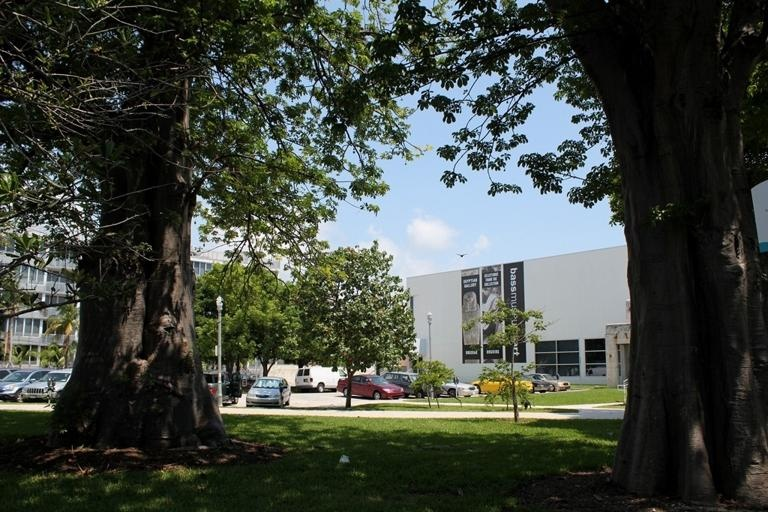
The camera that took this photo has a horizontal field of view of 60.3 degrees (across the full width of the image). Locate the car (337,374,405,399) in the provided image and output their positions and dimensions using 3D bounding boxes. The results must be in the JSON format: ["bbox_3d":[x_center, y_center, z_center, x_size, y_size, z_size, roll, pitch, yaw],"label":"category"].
[{"bbox_3d":[-0.847,7.814,39.653,4.146,1.231,1.795,-12,-16,41],"label":"car"}]

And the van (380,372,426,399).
[{"bbox_3d":[1.334,7.883,39.820,3.418,1.525,1.699,-6,-10,31],"label":"van"}]

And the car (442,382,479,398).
[{"bbox_3d":[4.591,8.140,40.133,2.566,0.829,1.114,-5,-9,19],"label":"car"}]

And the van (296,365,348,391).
[{"bbox_3d":[-5.014,9.344,50.250,3.011,1.997,1.858,4,-14,-18],"label":"van"}]
